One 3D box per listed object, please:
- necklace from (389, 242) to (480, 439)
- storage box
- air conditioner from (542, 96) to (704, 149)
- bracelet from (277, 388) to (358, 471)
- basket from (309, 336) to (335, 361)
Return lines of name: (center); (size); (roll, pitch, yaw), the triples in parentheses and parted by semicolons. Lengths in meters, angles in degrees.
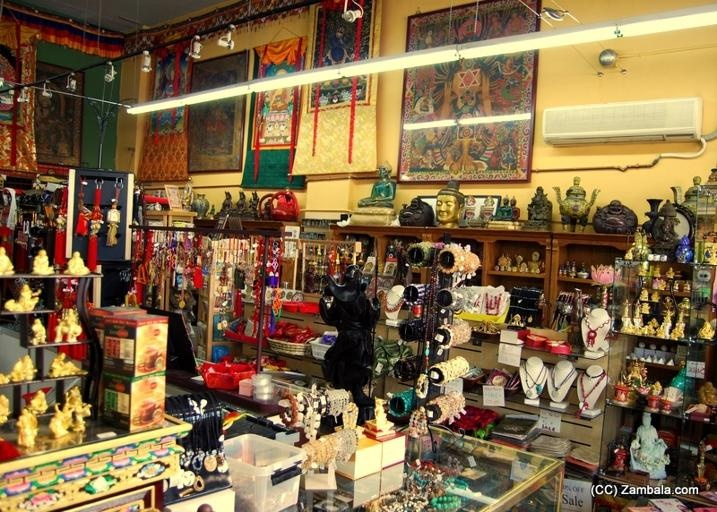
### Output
necklace: (0.466, 0.544, 3.270); (0.524, 1.272, 0.854); (2, 4, 13)
storage box: (-0.983, 0.489, 2.196); (0.177, 0.533, 0.453); (-2, 5, -43)
air conditioner: (2.842, -1.448, 5.686); (1.536, 0.415, 0.211); (5, 5, 34)
bracelet: (-0.201, 0.860, 2.696); (0.399, 0.331, 0.396); (-1, 5, -28)
basket: (-0.331, 0.794, 4.568); (0.196, 0.127, 0.293); (1, -5, -2)
